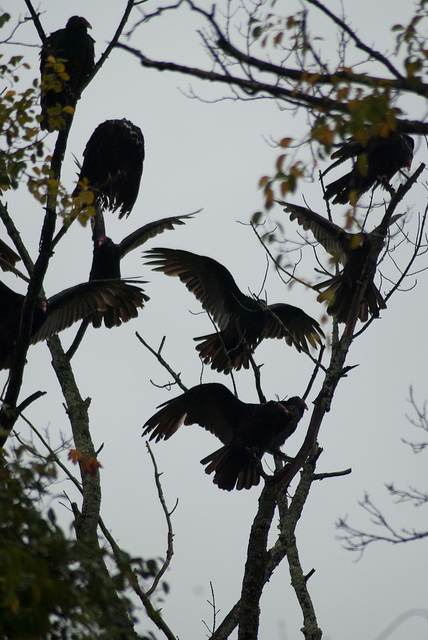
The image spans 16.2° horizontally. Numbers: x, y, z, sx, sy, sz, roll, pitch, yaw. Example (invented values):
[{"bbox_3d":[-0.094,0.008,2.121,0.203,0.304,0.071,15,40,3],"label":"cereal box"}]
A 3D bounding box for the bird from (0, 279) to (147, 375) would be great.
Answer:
[{"bbox_3d":[-0.608,-0.035,7.126,0.930,0.493,0.431,-3,9,-30],"label":"bird"}]

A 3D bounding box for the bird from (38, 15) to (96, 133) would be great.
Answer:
[{"bbox_3d":[-0.677,-1.144,6.939,0.244,0.594,0.217,-3,-30,-14],"label":"bird"}]

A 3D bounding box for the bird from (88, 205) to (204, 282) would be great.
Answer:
[{"bbox_3d":[-0.369,-0.315,7.142,0.393,0.288,0.341,-1,-43,-24],"label":"bird"}]

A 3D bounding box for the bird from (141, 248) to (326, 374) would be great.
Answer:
[{"bbox_3d":[0.106,0.041,8.574,1.079,0.557,0.504,24,-77,-9],"label":"bird"}]

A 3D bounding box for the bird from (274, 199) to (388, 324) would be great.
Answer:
[{"bbox_3d":[0.699,-0.311,7.828,0.817,0.537,0.597,4,-21,-2],"label":"bird"}]
